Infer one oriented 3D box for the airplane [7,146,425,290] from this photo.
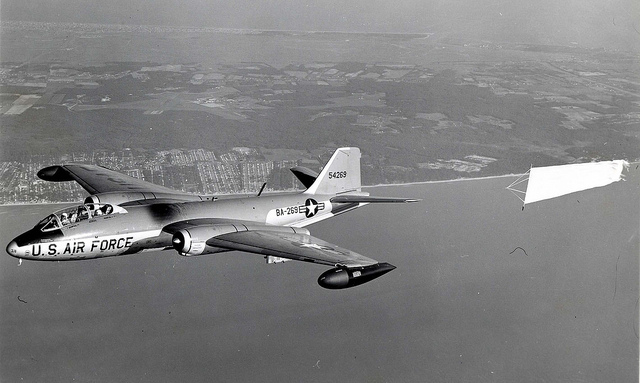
[{"bbox_3d":[-4.045,0.745,17.627,12.969,3.520,6.605,2,22,3],"label":"airplane"}]
